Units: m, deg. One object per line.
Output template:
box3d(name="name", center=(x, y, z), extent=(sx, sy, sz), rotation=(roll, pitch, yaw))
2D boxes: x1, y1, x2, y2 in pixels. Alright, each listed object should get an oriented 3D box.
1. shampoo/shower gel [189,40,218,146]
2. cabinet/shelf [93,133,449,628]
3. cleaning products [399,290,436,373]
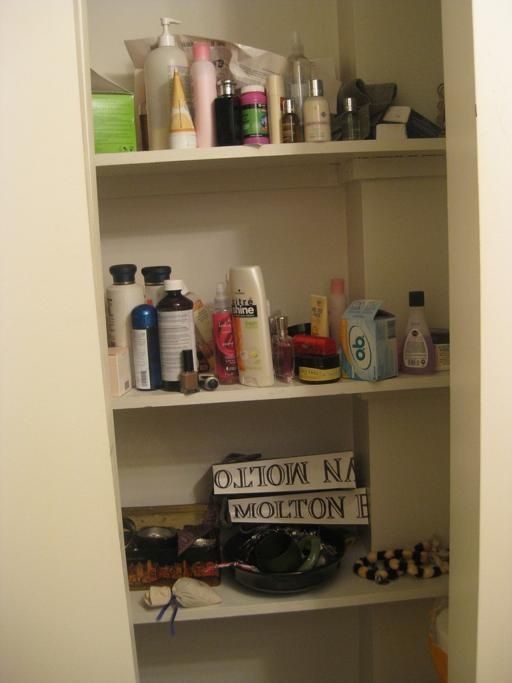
box3d(name="shampoo/shower gel", center=(-0.091, -0.429, 1.062), extent=(0.039, 0.153, 0.072), rotation=(-1, 16, -11))
box3d(name="cabinet/shelf", center=(-0.001, -0.098, 1.542), extent=(1.048, 1.278, 0.437), rotation=(-3, 5, -11))
box3d(name="cleaning products", center=(0.283, -0.022, 1.140), extent=(0.058, 0.144, 0.053), rotation=(4, 17, -7))
